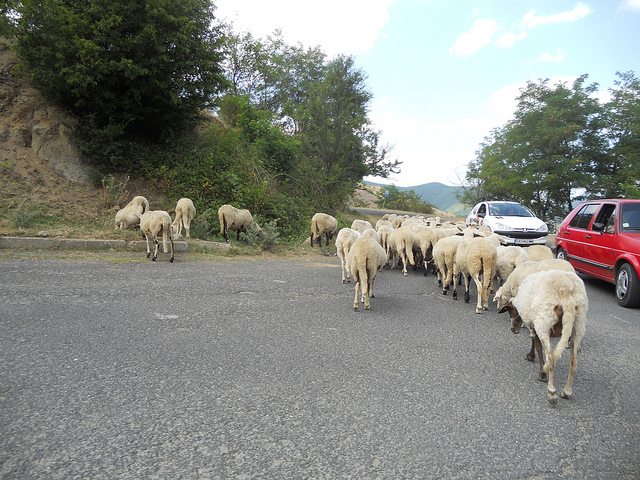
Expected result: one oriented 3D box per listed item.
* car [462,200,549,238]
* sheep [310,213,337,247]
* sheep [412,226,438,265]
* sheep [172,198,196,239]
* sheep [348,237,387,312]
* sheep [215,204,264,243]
[{"bbox_3d":[7.705,-0.870,18.754,2.000,1.324,3.306,3,0,-2],"label":"car"},{"bbox_3d":[0.146,-0.398,20.243,0.980,1.646,1.269,7,15,16],"label":"sheep"},{"bbox_3d":[3.551,0.263,15.563,0.692,1.393,2.530,-1,1,-6],"label":"sheep"},{"bbox_3d":[-5.202,-0.821,17.140,0.805,1.504,2.356,-2,15,-18],"label":"sheep"},{"bbox_3d":[1.071,0.803,10.505,0.831,1.557,1.718,5,14,7],"label":"sheep"},{"bbox_3d":[-3.500,-0.665,19.507,0.794,1.398,2.674,1,-3,31],"label":"sheep"}]
